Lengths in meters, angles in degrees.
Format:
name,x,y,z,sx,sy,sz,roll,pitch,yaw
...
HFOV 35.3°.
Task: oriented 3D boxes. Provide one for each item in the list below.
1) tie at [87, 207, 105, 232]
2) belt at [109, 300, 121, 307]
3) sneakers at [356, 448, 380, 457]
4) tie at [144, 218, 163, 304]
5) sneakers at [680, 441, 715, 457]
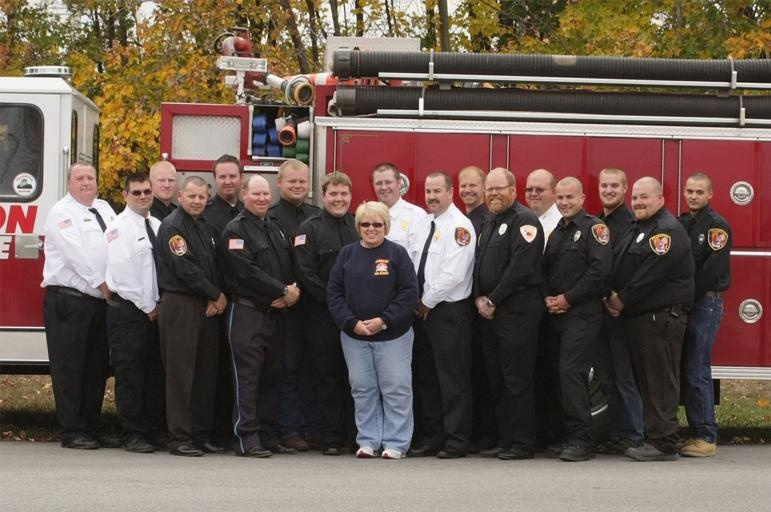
name,x,y,z,sx,sy,sz,roll,pitch,yaw
tie,-3.169,-0.395,13.385,0.084,0.466,0.064,6,-44,-44
belt,-2.940,0.520,13.133,0.152,0.065,0.054,0,3,41
sneakers,-0.187,2.144,13.138,0.097,0.097,0.247,-12,-22,38
tie,-2.506,0.058,13.187,0.109,0.944,0.298,-3,3,-30
sneakers,3.438,2.133,13.342,0.383,0.146,0.155,3,-6,-8
